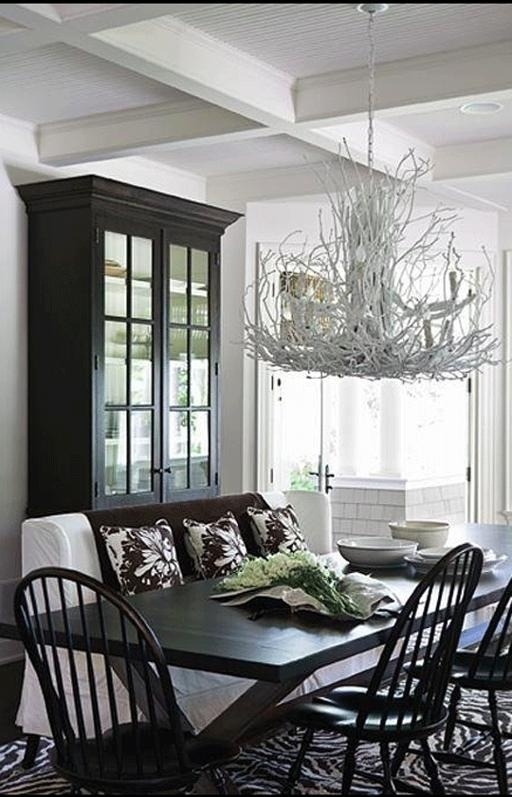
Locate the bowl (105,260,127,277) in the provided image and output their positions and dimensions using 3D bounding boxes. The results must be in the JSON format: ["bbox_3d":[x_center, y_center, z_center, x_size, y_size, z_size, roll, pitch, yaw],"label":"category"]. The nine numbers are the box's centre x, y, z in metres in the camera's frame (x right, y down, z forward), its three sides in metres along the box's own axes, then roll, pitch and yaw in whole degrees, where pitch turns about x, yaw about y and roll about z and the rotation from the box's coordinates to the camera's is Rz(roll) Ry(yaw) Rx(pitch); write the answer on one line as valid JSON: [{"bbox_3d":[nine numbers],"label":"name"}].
[{"bbox_3d":[-0.831,-0.762,3.613,0.084,0.033,0.110,1,1,44],"label":"bowl"}]

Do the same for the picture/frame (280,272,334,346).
[{"bbox_3d":[0.170,-0.322,2.163,0.175,0.239,0.222,-17,22,-42],"label":"picture/frame"}]

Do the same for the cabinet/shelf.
[{"bbox_3d":[-0.763,-0.307,3.829,1.192,1.980,0.594,-3,2,-37],"label":"cabinet/shelf"}]

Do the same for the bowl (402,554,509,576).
[{"bbox_3d":[0.767,0.653,2.389,0.385,0.069,0.281,-3,-4,27],"label":"bowl"}]

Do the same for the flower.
[{"bbox_3d":[0.098,0.540,1.814,0.270,0.114,0.215,2,-2,31],"label":"flower"}]
